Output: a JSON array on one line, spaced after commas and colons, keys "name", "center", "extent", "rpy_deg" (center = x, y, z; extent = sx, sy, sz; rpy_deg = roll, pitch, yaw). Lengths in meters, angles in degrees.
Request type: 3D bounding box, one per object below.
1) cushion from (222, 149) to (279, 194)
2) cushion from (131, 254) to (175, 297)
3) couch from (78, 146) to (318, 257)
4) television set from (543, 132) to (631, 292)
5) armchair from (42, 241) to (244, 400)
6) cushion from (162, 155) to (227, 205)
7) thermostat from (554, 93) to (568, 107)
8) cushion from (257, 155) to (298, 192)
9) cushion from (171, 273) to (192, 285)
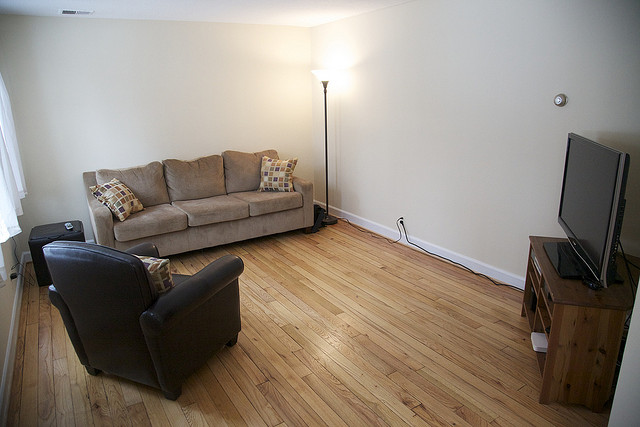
[{"name": "cushion", "center": [-0.996, -0.569, 5.989], "extent": [0.543, 0.377, 0.192], "rpy_deg": [-12, -11, -32]}, {"name": "cushion", "center": [-1.275, 0.474, 3.223], "extent": [0.127, 0.240, 0.238], "rpy_deg": [-21, 31, -35]}, {"name": "couch", "center": [-1.611, -0.147, 5.677], "extent": [2.552, 1.184, 1.060], "rpy_deg": [-12, 17, -28]}, {"name": "television set", "center": [2.154, -0.011, 3.406], "extent": [0.426, 1.121, 1.091], "rpy_deg": [-1, 19, 9]}, {"name": "armchair", "center": [-1.481, 0.705, 3.710], "extent": [1.233, 1.381, 1.081], "rpy_deg": [6, 20, 19]}, {"name": "cushion", "center": [-1.679, -0.484, 5.827], "extent": [0.803, 0.579, 0.299], "rpy_deg": [-9, 13, -26]}, {"name": "thermostat", "center": [2.236, -1.060, 3.965], "extent": [0.107, 0.126, 0.047], "rpy_deg": [7, 19, 37]}, {"name": "cushion", "center": [-0.627, -0.558, 5.993], "extent": [0.484, 0.489, 0.181], "rpy_deg": [7, -12, 11]}, {"name": "cushion", "center": [-1.261, 0.561, 3.842], "extent": [0.123, 0.016, 0.137], "rpy_deg": [-6, 17, -45]}]
